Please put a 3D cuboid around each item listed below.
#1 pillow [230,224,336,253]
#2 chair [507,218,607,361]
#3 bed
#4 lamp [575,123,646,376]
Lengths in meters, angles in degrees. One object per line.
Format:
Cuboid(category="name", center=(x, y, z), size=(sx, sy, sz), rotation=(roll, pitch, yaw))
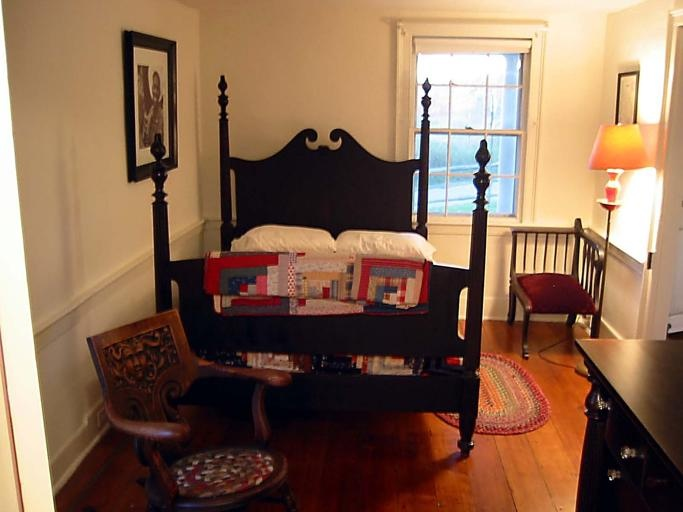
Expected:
Cuboid(category="pillow", center=(-0.433, -0.129, 4.365), size=(0.421, 0.117, 0.399), rotation=(-1, 17, -7))
Cuboid(category="chair", center=(1.757, 0.176, 4.639), size=(0.677, 1.234, 1.069), rotation=(0, 11, 7))
Cuboid(category="bed", center=(0.029, -0.152, 4.520), size=(1.830, 2.756, 2.964), rotation=(0, 7, 3))
Cuboid(category="lamp", center=(1.990, -0.077, 4.205), size=(0.390, 1.766, 0.882), rotation=(6, 15, 23))
